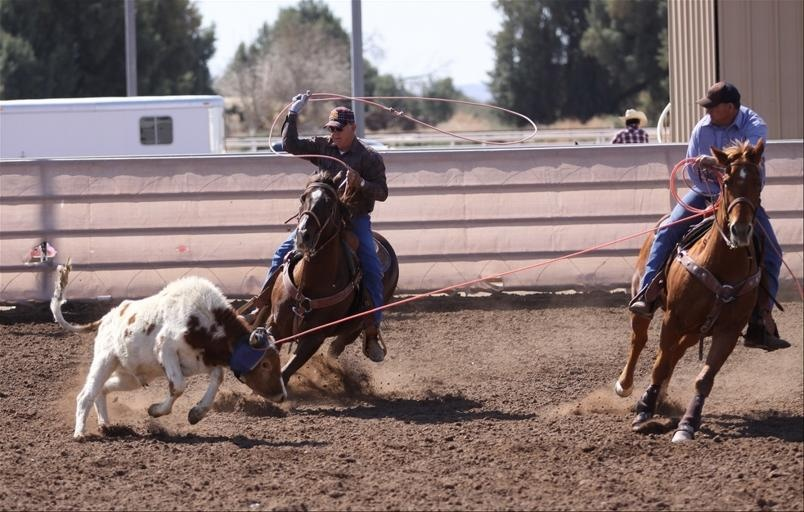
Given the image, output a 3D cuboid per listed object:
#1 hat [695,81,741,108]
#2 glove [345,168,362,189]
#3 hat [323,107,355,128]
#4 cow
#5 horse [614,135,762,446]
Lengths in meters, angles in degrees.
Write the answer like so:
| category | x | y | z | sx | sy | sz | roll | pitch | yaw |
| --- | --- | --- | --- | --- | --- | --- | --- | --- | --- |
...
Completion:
| category | x | y | z | sx | sy | sz | roll | pitch | yaw |
| --- | --- | --- | --- | --- | --- | --- | --- | --- | --- |
| hat | 5.156 | -2.686 | 24.053 | 0.596 | 0.358 | 0.399 | 3 | 14 | 4 |
| glove | -0.829 | -1.306 | 24.643 | 0.234 | 0.334 | 0.367 | 5 | 10 | 32 |
| hat | -1.093 | -2.368 | 24.868 | 0.453 | 0.269 | 0.310 | -3 | 6 | -27 |
| cow | -4.021 | 1.707 | 23.956 | 4.485 | 2.579 | 1.370 | 1 | -2 | 22 |
| horse | 4.775 | 0.462 | 23.856 | 1.959 | 4.733 | 1.593 | 2 | 9 | 15 |
